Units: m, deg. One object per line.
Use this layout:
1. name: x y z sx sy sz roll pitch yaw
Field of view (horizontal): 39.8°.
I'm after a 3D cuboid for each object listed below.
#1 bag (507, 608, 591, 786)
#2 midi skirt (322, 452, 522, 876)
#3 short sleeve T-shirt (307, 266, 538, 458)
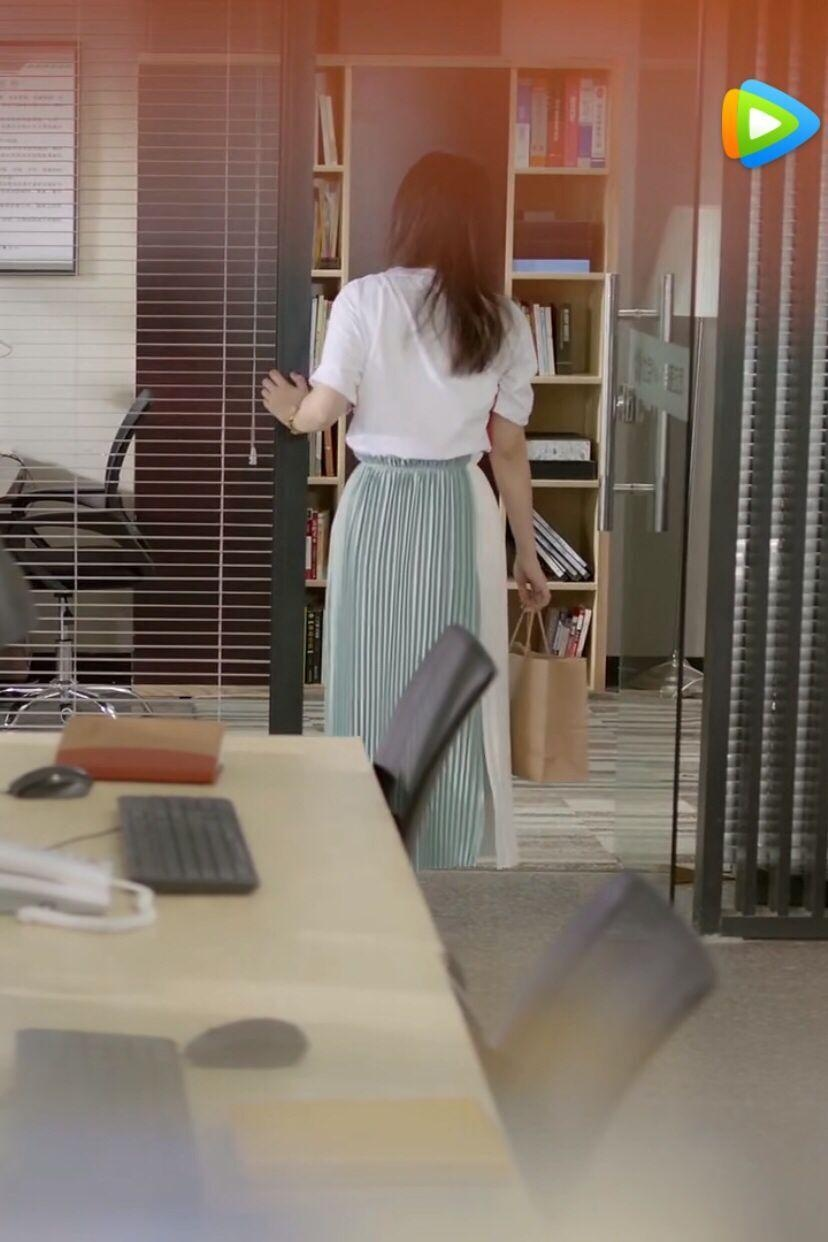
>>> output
1. bag: 0.142 0.096 1.521 0.163 0.228 0.074 4 -3 6
2. midi skirt: -0.006 -0.024 1.483 0.224 0.457 0.106 2 32 -3
3. short sleeve T-shirt: 0.015 -0.317 1.378 0.266 0.218 0.133 -4 30 -10
